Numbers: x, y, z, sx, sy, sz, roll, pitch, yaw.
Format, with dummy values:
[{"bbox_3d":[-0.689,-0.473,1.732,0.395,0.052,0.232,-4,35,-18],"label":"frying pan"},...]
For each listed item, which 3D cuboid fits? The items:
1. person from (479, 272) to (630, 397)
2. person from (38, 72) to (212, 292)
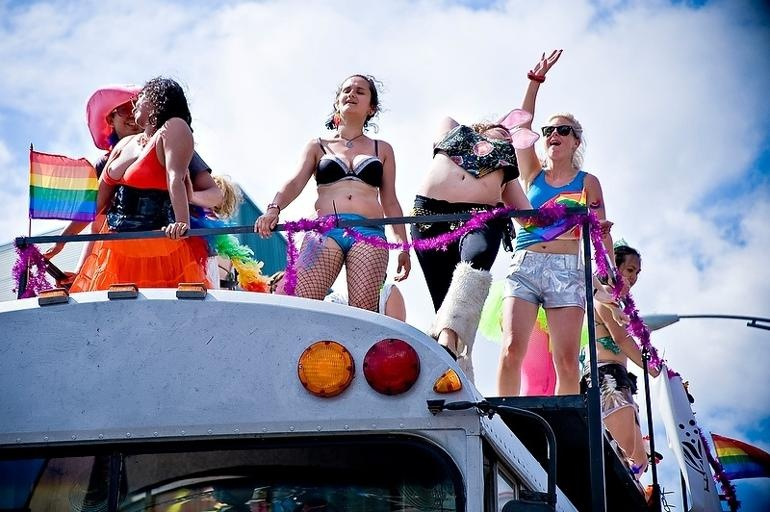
[{"bbox_3d":[1.595,0.407,7.872,1.265,0.495,1.116,-25,25,-39],"label":"person"},{"bbox_3d":[-1.683,-0.358,5.770,0.809,1.279,0.597,-29,-48,29],"label":"person"}]
